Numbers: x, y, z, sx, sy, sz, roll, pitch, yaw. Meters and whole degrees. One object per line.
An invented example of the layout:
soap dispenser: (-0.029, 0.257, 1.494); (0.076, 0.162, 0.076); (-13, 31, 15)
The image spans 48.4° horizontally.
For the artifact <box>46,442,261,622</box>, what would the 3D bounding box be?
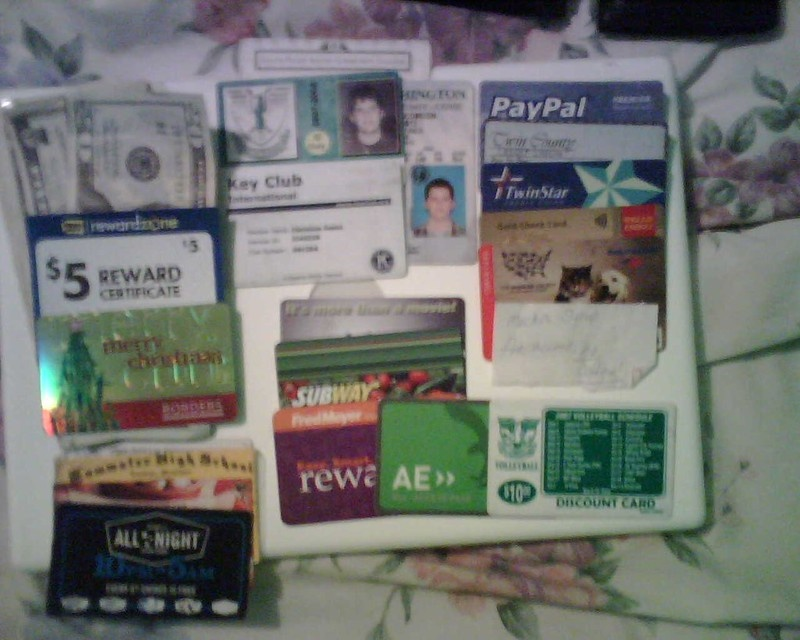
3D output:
artifact: (-0.322, 0.274, 1.153); (0.269, 0.153, 0.161); (-1, 46, 1)

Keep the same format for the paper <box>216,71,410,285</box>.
paper: (-0.116, -0.178, 1.239); (0.258, 0.060, 0.250); (-2, 91, -1)

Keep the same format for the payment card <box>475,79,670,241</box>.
payment card: (0.210, -0.204, 1.143); (0.212, 0.011, 0.144); (-1, 89, -2)
